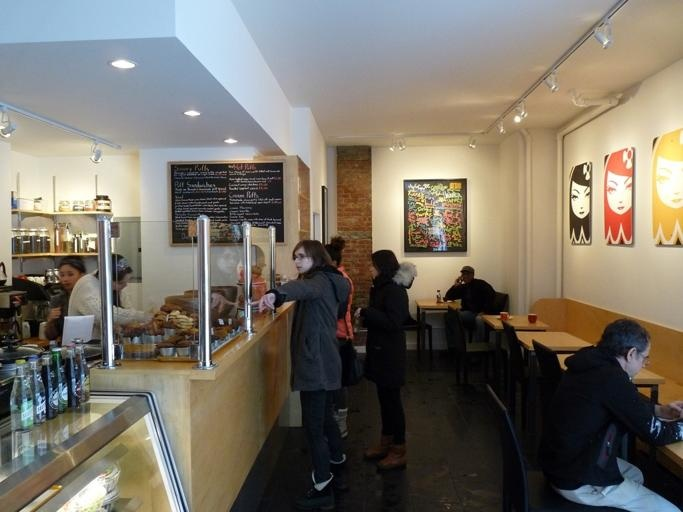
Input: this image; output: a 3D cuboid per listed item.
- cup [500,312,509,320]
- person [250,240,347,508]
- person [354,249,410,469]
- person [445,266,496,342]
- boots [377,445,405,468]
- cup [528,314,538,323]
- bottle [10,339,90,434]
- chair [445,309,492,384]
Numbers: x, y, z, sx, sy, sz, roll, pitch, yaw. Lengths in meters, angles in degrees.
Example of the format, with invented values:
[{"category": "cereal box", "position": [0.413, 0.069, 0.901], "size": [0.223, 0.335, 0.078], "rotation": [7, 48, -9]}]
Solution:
[{"category": "cup", "position": [1.899, 0.733, 5.867], "size": [0.132, 0.099, 0.085], "rotation": [4, -6, -38]}, {"category": "person", "position": [-0.208, 0.846, 3.482], "size": [0.541, 1.888, 0.989], "rotation": [-1, 3, 1]}, {"category": "person", "position": [0.373, 0.844, 4.140], "size": [0.450, 1.759, 0.442], "rotation": [0, 3, 9]}, {"category": "person", "position": [1.882, 0.783, 7.388], "size": [0.787, 1.230, 0.627], "rotation": [-3, 2, -14]}, {"category": "boots", "position": [0.409, 1.654, 4.068], "size": [0.292, 0.209, 0.114], "rotation": [2, -3, -15]}, {"category": "cup", "position": [2.204, 0.731, 5.734], "size": [0.102, 0.092, 0.092], "rotation": [-4, 8, -5]}, {"category": "bottle", "position": [-1.231, 0.579, 2.108], "size": [0.109, 0.309, 0.329], "rotation": [0, 0, 20]}, {"category": "chair", "position": [1.628, 1.109, 6.367], "size": [0.580, 1.032, 1.518], "rotation": [0, 3, 12]}]
